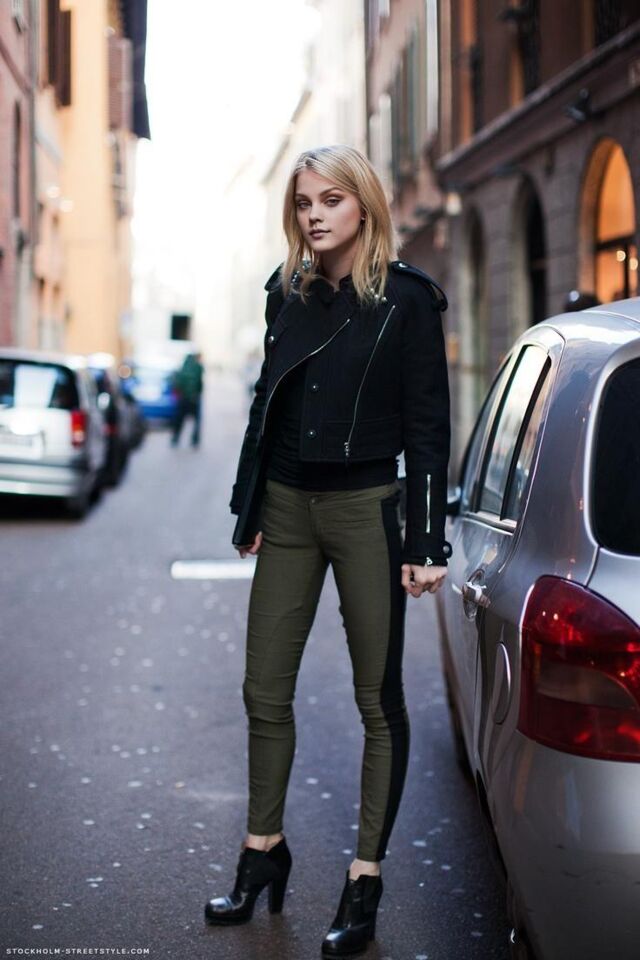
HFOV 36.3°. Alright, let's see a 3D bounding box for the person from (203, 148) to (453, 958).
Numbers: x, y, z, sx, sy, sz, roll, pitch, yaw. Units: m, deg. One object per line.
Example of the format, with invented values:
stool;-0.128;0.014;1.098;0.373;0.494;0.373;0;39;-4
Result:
person;0.035;0.151;2.194;0.524;1.768;0.344;3;2;12
